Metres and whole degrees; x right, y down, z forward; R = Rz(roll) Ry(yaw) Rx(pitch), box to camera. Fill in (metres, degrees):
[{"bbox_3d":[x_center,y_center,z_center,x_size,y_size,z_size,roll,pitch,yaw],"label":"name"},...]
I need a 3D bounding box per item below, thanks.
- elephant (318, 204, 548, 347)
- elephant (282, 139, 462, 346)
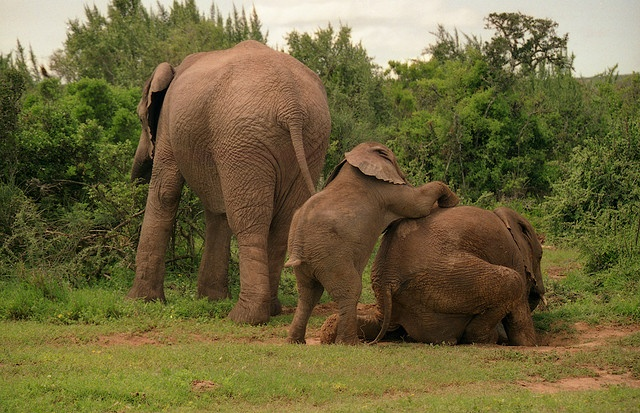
[{"bbox_3d":[2.226,1.245,12.054,4.109,2.337,2.064,-9,5,-26],"label":"elephant"},{"bbox_3d":[0.864,0.476,12.185,4.268,3.346,1.661,-15,15,-40],"label":"elephant"}]
